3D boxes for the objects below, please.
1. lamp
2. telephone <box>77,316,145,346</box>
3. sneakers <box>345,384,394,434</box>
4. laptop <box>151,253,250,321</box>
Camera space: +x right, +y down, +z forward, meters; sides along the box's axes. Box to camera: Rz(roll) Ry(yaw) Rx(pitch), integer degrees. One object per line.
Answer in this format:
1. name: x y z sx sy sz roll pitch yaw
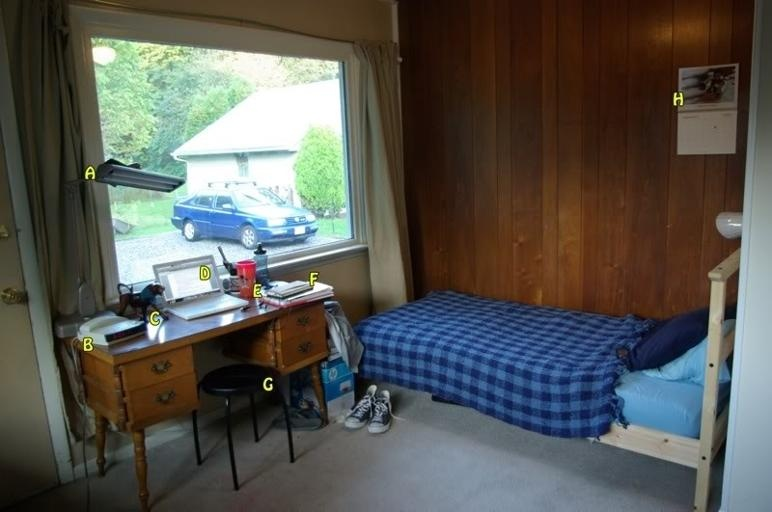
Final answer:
1. lamp: -1.490 -0.421 3.158 0.323 0.119 0.327 -12 -11 29
2. telephone: -1.491 0.386 3.038 0.277 0.106 0.269 6 18 41
3. sneakers: -0.081 1.019 3.693 0.190 0.105 0.289 2 5 19
4. laptop: -1.159 0.195 3.413 0.428 0.284 0.445 13 18 37
